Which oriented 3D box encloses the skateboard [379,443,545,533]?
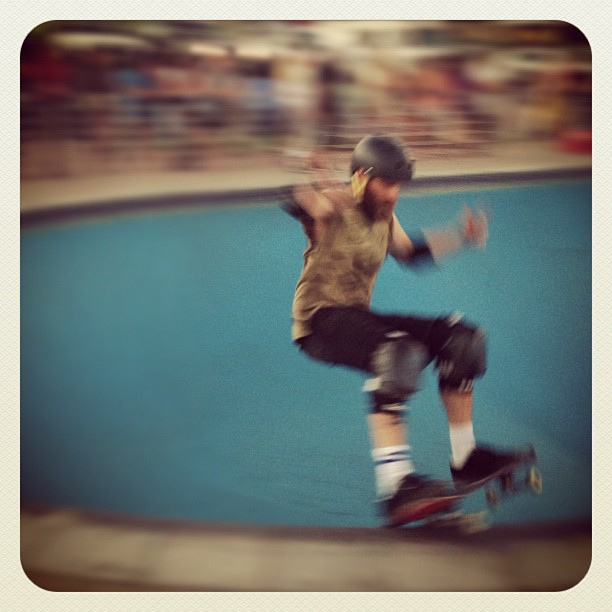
[{"bbox_3d":[0.568,0.674,2.528,0.593,0.256,0.134,-13,38,-17],"label":"skateboard"}]

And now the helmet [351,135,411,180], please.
[{"bbox_3d":[0.274,-0.525,2.644,0.198,0.148,0.144,39,27,12],"label":"helmet"}]

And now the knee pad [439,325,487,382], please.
[{"bbox_3d":[0.566,0.169,2.634,0.204,0.181,0.088,4,6,-4],"label":"knee pad"}]
